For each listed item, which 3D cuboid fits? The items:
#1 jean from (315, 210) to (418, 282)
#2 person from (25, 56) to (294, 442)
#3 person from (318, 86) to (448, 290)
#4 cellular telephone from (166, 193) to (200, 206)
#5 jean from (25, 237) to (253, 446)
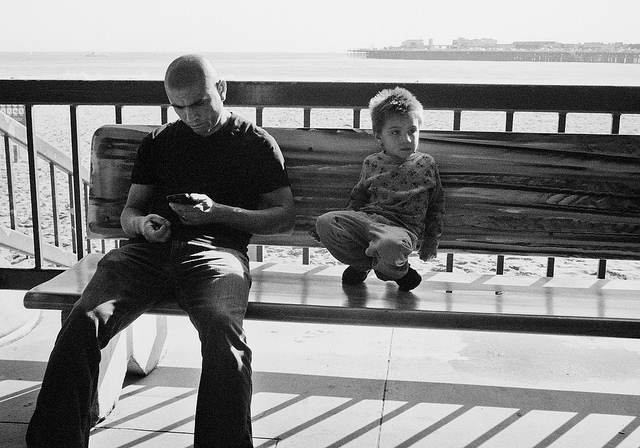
[{"bbox_3d":[0.234,0.095,3.693,0.481,0.208,0.329,-4,29,-26],"label":"jean"},{"bbox_3d":[-0.670,0.067,3.531,1.015,1.917,0.793,3,0,2],"label":"person"},{"bbox_3d":[0.352,-0.223,3.871,0.566,1.061,0.474,3,0,22],"label":"person"},{"bbox_3d":[-0.687,-0.124,3.610,0.171,0.055,0.058,3,0,17],"label":"cellular telephone"},{"bbox_3d":[-0.785,0.530,3.396,0.971,0.944,0.614,3,0,-5],"label":"jean"}]
